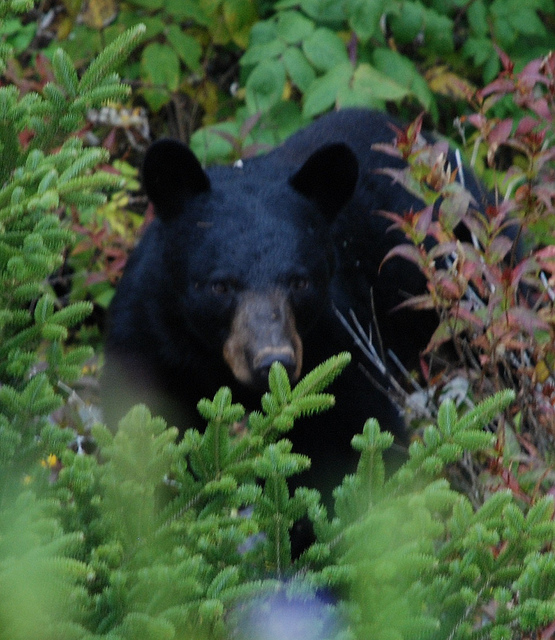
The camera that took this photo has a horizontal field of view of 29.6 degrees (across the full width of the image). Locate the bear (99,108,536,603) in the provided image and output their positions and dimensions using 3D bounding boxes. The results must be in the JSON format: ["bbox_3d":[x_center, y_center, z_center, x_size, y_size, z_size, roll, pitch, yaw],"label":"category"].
[{"bbox_3d":[0.041,-0.100,2.841,0.625,1.021,1.442,17,18,-3],"label":"bear"}]
